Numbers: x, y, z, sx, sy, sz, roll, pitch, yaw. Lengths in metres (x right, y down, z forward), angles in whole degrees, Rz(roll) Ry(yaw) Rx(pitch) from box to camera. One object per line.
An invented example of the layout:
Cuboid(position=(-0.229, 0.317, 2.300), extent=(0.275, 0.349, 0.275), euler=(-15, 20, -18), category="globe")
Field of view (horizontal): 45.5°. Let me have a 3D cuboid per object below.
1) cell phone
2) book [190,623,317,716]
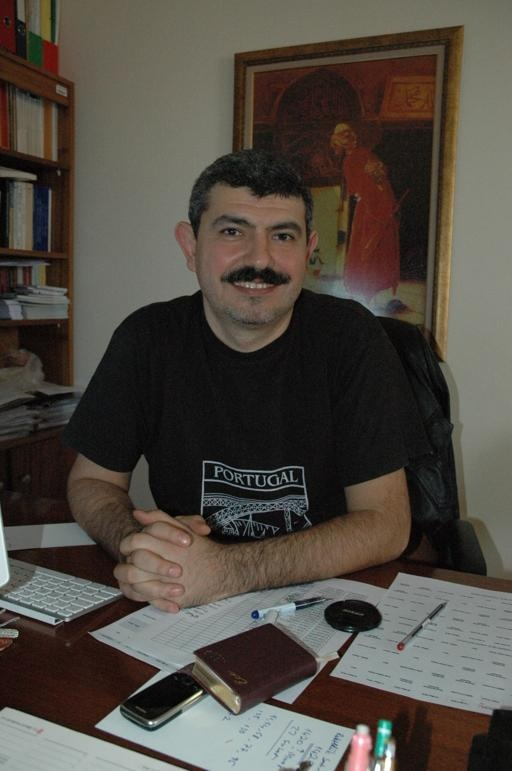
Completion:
Cuboid(position=(-0.095, 0.326, 0.630), extent=(0.043, 0.017, 0.080), euler=(6, 8, 39), category="cell phone")
Cuboid(position=(0.000, 0.313, 0.684), extent=(0.099, 0.029, 0.136), euler=(16, 11, 37), category="book")
